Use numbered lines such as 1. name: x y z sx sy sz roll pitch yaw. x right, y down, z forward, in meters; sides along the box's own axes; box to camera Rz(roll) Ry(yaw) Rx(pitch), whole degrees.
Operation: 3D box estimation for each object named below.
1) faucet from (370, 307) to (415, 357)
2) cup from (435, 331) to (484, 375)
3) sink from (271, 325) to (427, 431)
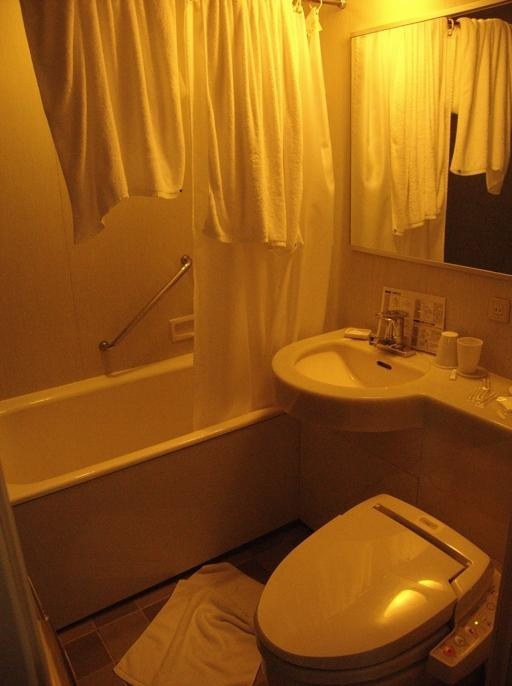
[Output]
1. faucet: 0.474 -0.081 1.931 0.111 0.189 0.164 -20 29 -35
2. cup: 0.612 0.032 1.697 0.078 0.116 0.141 -4 23 -3
3. sink: 0.278 0.141 1.784 0.413 0.169 0.594 -12 16 -25
